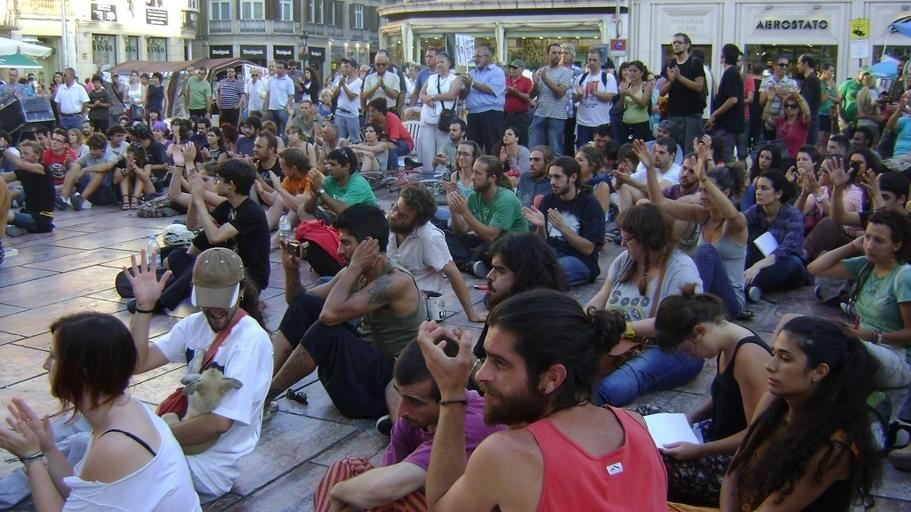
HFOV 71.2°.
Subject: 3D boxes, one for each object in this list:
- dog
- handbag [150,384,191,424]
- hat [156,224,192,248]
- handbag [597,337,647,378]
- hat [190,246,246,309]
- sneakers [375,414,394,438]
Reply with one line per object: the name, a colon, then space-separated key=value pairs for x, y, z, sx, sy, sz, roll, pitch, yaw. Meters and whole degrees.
dog: x=-1.985 y=1.251 z=5.023 sx=0.448 sy=0.624 sz=0.278 roll=8 pitch=-11 yaw=45
handbag: x=-2.319 y=1.193 z=5.320 sx=0.347 sy=0.340 sz=0.236 roll=-23 pitch=-22 yaw=13
hat: x=-4.242 y=-0.296 z=9.769 sx=0.656 sy=0.339 sz=0.922 roll=-1 pitch=-1 yaw=-11
handbag: x=1.538 y=0.944 z=5.902 sx=0.385 sy=0.141 sz=0.385 roll=-35 pitch=-5 yaw=25
hat: x=-1.946 y=0.172 z=5.264 sx=0.333 sy=0.223 sz=0.516 roll=2 pitch=43 yaw=-6
sneakers: x=-0.674 y=1.552 z=5.913 sx=0.107 sy=0.223 sz=0.357 roll=-3 pitch=12 yaw=-21
